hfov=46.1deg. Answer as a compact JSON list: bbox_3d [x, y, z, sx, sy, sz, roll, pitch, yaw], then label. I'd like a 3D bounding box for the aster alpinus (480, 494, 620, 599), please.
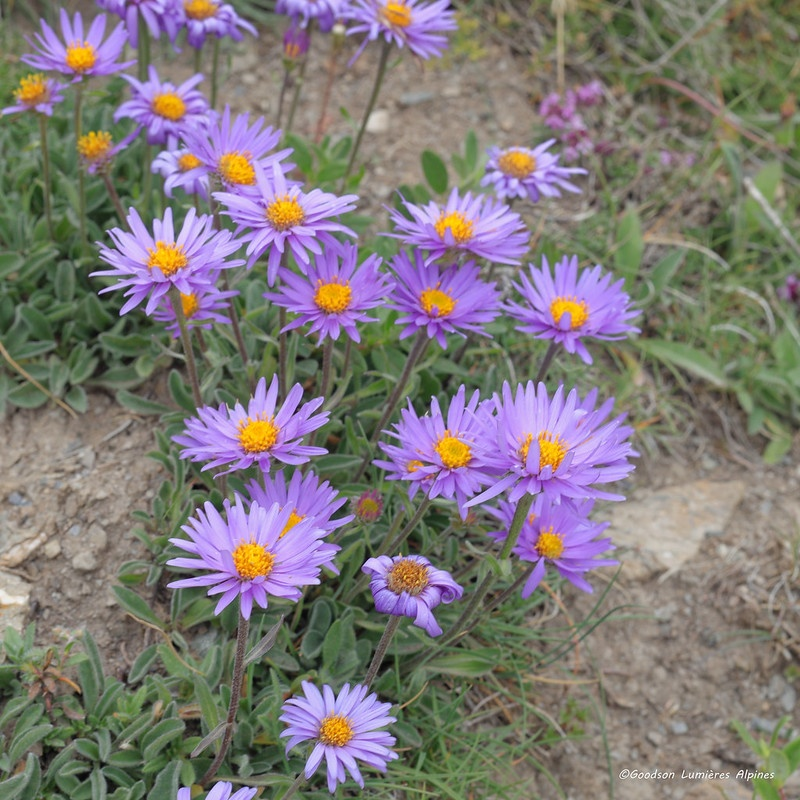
[{"bbox_3d":[0.494,0.455,3.032,0.412,0.176,0.447,-10,30,-41],"label":"aster alpinus"}]

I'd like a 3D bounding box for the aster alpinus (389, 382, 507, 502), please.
[{"bbox_3d":[0.142,0.158,2.942,0.386,0.393,0.213,11,71,-23],"label":"aster alpinus"}]

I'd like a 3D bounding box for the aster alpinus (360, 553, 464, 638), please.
[{"bbox_3d":[0.020,0.587,2.786,0.315,0.178,0.327,9,-5,39],"label":"aster alpinus"}]

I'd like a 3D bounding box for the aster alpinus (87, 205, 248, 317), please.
[{"bbox_3d":[-0.721,-0.472,2.981,0.563,0.213,0.557,7,26,40],"label":"aster alpinus"}]

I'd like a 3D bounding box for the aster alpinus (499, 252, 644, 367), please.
[{"bbox_3d":[0.555,-0.306,3.122,0.366,0.186,0.454,9,33,6],"label":"aster alpinus"}]

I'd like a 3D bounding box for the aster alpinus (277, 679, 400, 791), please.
[{"bbox_3d":[-0.174,0.969,2.660,0.329,0.173,0.288,7,58,-17],"label":"aster alpinus"}]

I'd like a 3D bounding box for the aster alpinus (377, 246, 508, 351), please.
[{"bbox_3d":[0.145,-0.328,3.044,0.291,0.129,0.359,-3,71,-16],"label":"aster alpinus"}]

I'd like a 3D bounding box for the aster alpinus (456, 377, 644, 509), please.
[{"bbox_3d":[0.384,0.134,2.696,0.592,0.239,0.585,-7,16,-39],"label":"aster alpinus"}]

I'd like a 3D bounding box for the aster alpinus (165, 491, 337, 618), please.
[{"bbox_3d":[-0.399,0.431,2.535,0.430,0.157,0.308,22,55,-8],"label":"aster alpinus"}]

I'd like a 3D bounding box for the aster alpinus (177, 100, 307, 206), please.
[{"bbox_3d":[-0.601,-0.892,3.295,0.369,0.209,0.372,4,13,16],"label":"aster alpinus"}]

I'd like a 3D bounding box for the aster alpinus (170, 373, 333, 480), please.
[{"bbox_3d":[-0.432,0.092,2.755,0.370,0.165,0.439,-3,23,7],"label":"aster alpinus"}]

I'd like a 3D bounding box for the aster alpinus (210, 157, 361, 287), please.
[{"bbox_3d":[-0.398,-0.555,3.046,0.410,0.212,0.515,22,20,-10],"label":"aster alpinus"}]

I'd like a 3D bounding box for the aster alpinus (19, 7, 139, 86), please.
[{"bbox_3d":[-1.184,-1.293,3.466,0.343,0.172,0.406,-6,19,-3],"label":"aster alpinus"}]

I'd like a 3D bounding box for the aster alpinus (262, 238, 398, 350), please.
[{"bbox_3d":[-0.171,-0.384,3.127,0.285,0.119,0.297,26,1,-25],"label":"aster alpinus"}]

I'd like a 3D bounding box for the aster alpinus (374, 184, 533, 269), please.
[{"bbox_3d":[0.190,-0.550,3.019,0.299,0.105,0.338,7,46,-19],"label":"aster alpinus"}]
